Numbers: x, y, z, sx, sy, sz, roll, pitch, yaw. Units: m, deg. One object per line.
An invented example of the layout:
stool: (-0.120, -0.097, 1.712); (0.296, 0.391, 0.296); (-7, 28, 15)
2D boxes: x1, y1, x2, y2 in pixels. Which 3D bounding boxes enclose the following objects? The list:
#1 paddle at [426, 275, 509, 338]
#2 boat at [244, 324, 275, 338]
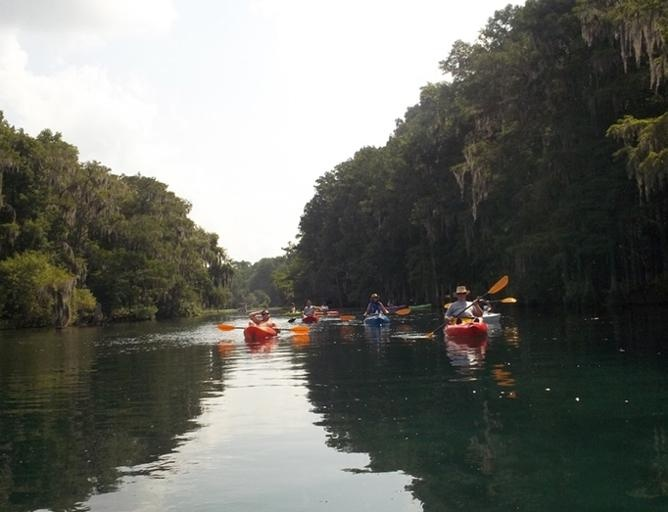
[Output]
paddle: (6.712, 2.380, 32.429); (3.717, 0.507, 0.199); (-40, -46, 12)
boat: (-2.853, 2.994, 26.023); (1.216, 0.570, 1.096); (-1, 0, -25)
